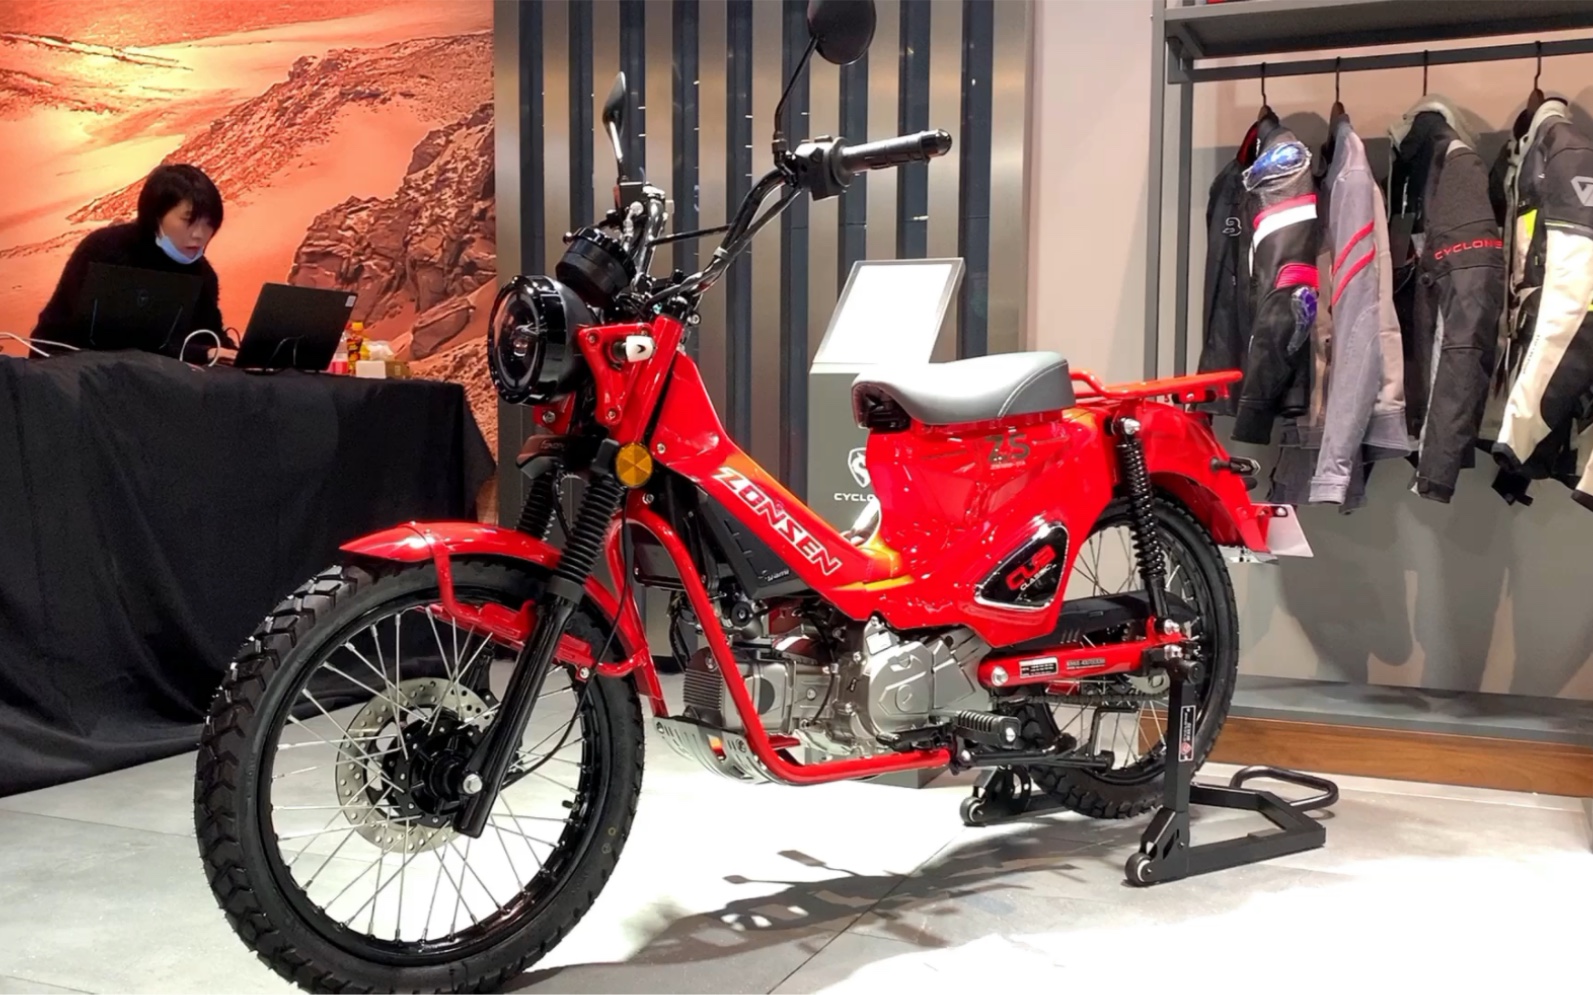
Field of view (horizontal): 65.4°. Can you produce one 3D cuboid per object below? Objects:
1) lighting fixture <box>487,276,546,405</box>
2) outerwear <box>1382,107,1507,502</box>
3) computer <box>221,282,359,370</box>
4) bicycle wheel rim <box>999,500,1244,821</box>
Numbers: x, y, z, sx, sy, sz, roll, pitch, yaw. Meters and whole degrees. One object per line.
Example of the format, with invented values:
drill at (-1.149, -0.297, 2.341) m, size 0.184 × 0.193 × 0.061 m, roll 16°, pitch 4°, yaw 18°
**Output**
lighting fixture at (-0.687, -0.386, 3.038) m, size 0.081 × 0.272 × 0.237 m, roll 2°, pitch 0°, yaw -38°
outerwear at (2.299, -0.718, 4.380) m, size 0.353 × 1.385 × 0.542 m, roll 3°, pitch 10°, yaw 12°
computer at (-2.066, -0.676, 5.040) m, size 0.383 × 0.329 × 0.455 m, roll 18°, pitch 12°, yaw 39°
bicycle wheel rim at (0.968, 0.494, 3.707) m, size 0.980 × 0.962 × 0.185 m, roll 7°, pitch -7°, yaw -28°
